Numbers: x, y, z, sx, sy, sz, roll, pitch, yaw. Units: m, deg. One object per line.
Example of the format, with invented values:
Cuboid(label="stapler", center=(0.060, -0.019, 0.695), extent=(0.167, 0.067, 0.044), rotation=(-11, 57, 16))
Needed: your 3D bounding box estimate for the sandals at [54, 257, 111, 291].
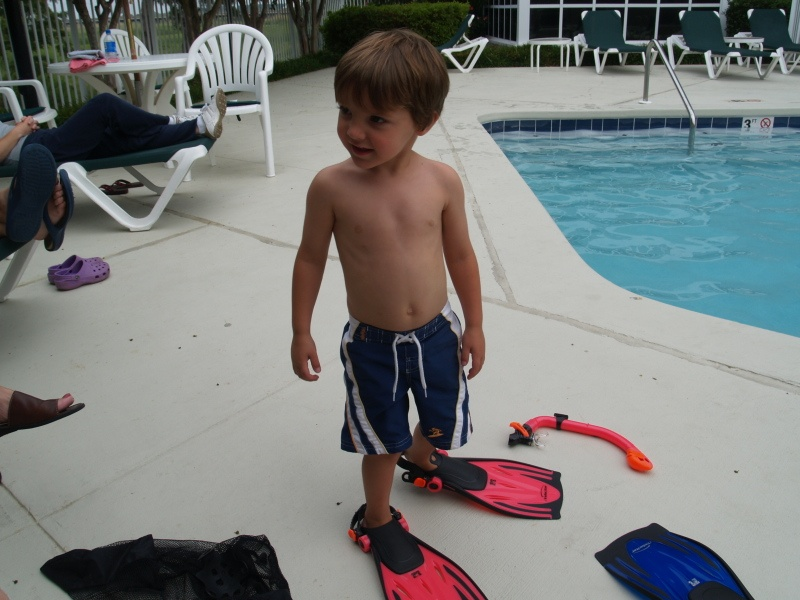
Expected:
Cuboid(label="sandals", center=(-1.760, -0.154, 2.977), extent=(0.171, 0.097, 0.234), rotation=(16, 28, 36))

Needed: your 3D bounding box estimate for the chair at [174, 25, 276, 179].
Cuboid(label="chair", center=(-1.581, -1.846, 4.884), extent=(0.958, 1.170, 0.947), rotation=(23, 34, 37))

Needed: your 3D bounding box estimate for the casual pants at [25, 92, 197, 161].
Cuboid(label="casual pants", center=(-1.968, -1.151, 3.786), extent=(0.845, 0.326, 0.630), rotation=(-12, 25, -17))

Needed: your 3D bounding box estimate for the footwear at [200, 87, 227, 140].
Cuboid(label="footwear", center=(-1.342, -1.346, 3.936), extent=(0.192, 0.446, 0.153), rotation=(8, 9, 16))

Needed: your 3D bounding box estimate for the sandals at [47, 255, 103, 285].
Cuboid(label="sandals", center=(-1.800, -0.157, 3.003), extent=(0.284, 0.133, 0.239), rotation=(-22, 29, -39))

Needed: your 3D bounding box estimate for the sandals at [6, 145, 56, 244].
Cuboid(label="sandals", center=(-1.568, -0.456, 2.338), extent=(0.164, 0.492, 0.170), rotation=(10, 16, -25))

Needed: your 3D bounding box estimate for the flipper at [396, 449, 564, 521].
Cuboid(label="flipper", center=(0.258, 0.584, 1.707), extent=(0.482, 0.123, 0.216), rotation=(3, 26, 13))

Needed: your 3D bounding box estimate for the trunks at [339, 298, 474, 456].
Cuboid(label="trunks", center=(0.011, 0.211, 1.508), extent=(0.356, 0.431, 0.215), rotation=(-4, 11, -1))

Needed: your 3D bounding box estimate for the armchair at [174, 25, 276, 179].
Cuboid(label="armchair", center=(-1.552, -1.850, 4.886), extent=(0.931, 1.181, 0.943), rotation=(12, 26, 24))
